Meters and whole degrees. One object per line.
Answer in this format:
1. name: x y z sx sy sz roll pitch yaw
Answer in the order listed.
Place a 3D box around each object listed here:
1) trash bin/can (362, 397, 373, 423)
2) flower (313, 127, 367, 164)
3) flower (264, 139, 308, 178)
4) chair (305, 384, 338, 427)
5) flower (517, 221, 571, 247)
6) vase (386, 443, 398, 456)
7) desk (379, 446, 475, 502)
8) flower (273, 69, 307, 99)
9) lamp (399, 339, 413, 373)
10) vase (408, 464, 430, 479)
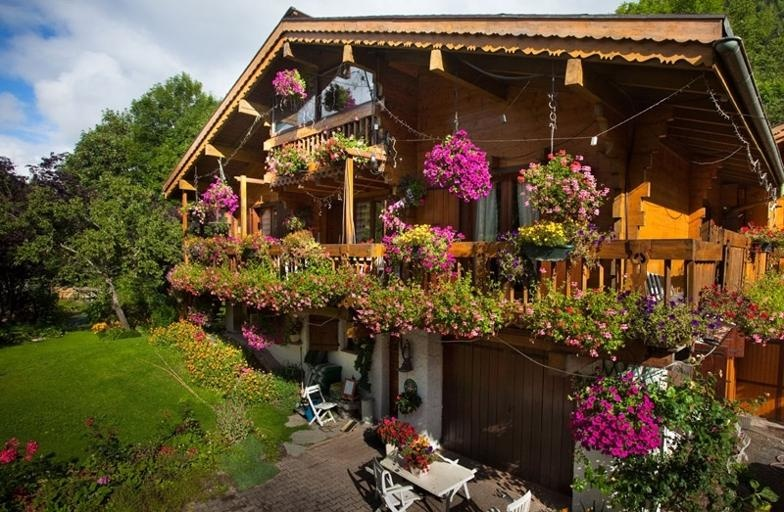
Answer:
1. trash bin/can: -0.841 5.157 20.146 0.368 0.786 0.162 1 -4 -3
2. flower: -1.360 -3.225 18.753 1.290 0.885 1.396 7 24 -24
3. flower: -3.306 -3.172 20.300 1.320 0.907 1.149 2 8 14
4. chair: -2.381 5.047 20.294 0.887 1.236 0.826 0 2 32
5. flower: 3.680 -0.517 14.919 0.727 0.442 0.737 0 5 -33
6. vase: -0.056 5.795 17.924 0.320 0.422 0.340 1 -1 31
7. desk: 1.322 6.040 16.629 1.306 0.571 2.084 -18 20 -42
8. flower: -3.396 -5.579 20.371 1.041 1.180 0.607 10 -33 10
9. lamp: 0.421 3.097 18.780 0.403 1.081 0.245 1 -4 6
10. vase: 0.755 5.924 16.592 0.417 0.219 0.300 4 -8 -16
